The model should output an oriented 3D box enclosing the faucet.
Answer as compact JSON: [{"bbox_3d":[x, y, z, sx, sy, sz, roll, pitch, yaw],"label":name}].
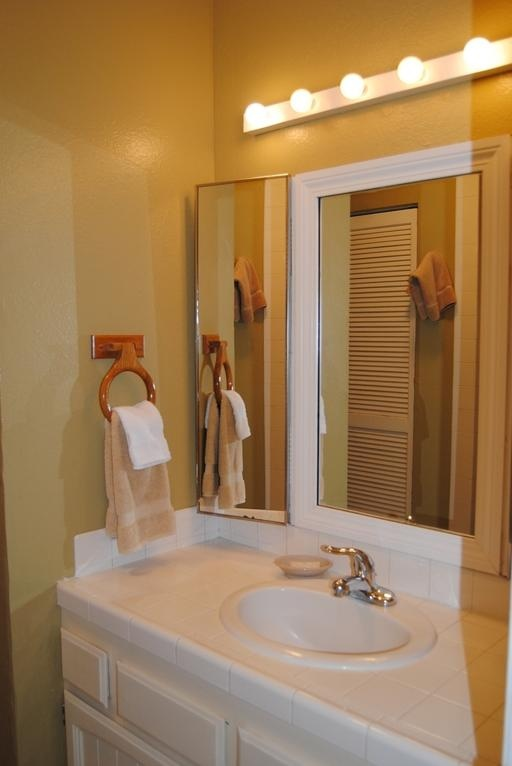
[{"bbox_3d":[0.218,0.419,1.290,0.141,0.126,0.160,1,-11,7],"label":"faucet"}]

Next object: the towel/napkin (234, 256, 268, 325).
[{"bbox_3d":[-0.017,-0.251,1.564,0.091,0.168,0.011,0,1,27],"label":"towel/napkin"}]

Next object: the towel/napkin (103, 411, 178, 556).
[{"bbox_3d":[-0.283,0.224,1.436,0.150,0.373,0.080,-14,32,-31],"label":"towel/napkin"}]

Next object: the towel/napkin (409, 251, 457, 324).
[{"bbox_3d":[0.381,-0.209,1.256,0.105,0.149,0.051,-33,33,-23],"label":"towel/napkin"}]

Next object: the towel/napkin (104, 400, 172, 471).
[{"bbox_3d":[-0.267,0.122,1.397,0.129,0.159,0.054,-10,-4,-44],"label":"towel/napkin"}]
